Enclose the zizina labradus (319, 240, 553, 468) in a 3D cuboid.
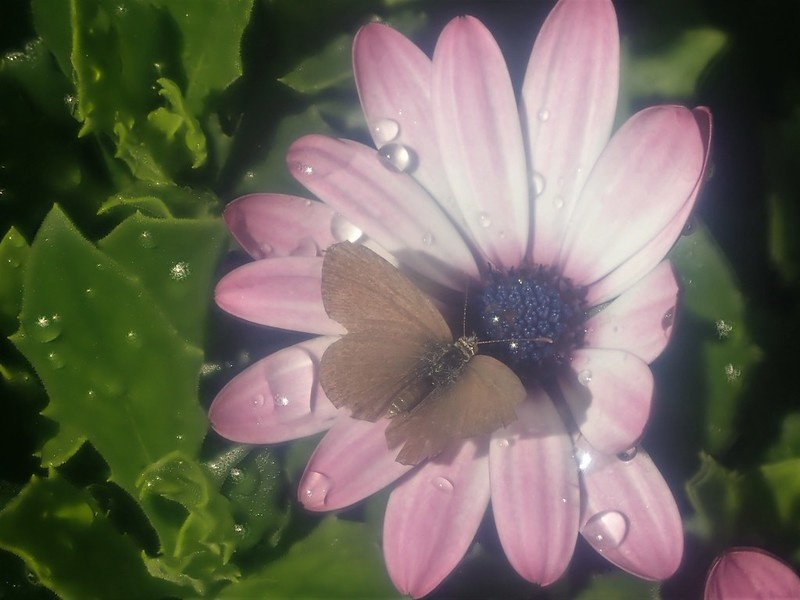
[{"bbox_3d":[0.019,0.058,0.928,0.214,0.161,0.169,-1,43,3],"label":"zizina labradus"}]
